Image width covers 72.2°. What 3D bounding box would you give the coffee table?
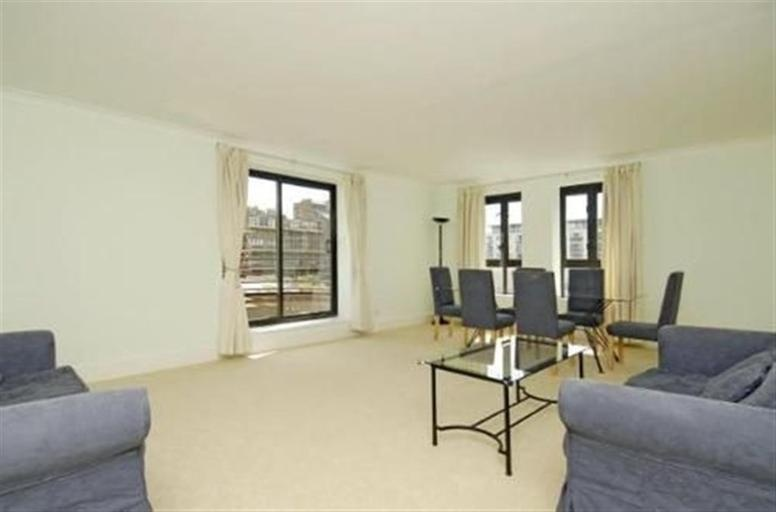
[{"bbox_3d":[0.976,1.044,4.815,0.879,0.740,1.589,-2,1,37],"label":"coffee table"}]
